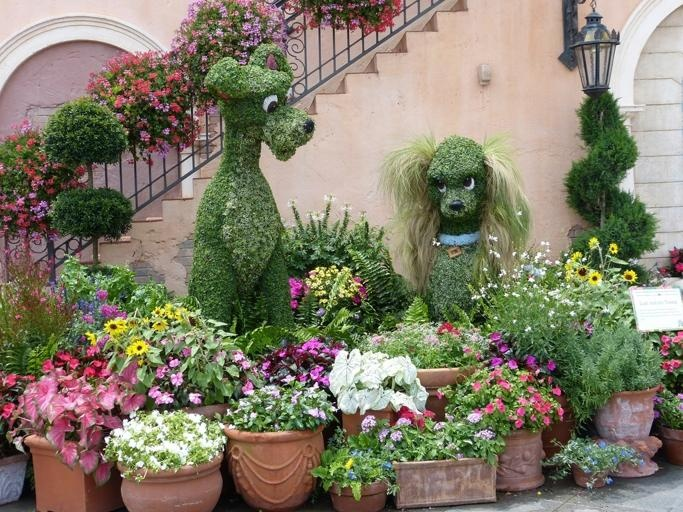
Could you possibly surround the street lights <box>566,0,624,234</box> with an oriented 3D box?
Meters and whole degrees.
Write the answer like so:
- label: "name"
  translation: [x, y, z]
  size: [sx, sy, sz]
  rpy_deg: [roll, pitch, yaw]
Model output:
- label: "street lights"
  translation: [2.592, -1.527, 7.602]
  size: [0.462, 1.741, 0.742]
  rpy_deg: [-2, 1, 20]
